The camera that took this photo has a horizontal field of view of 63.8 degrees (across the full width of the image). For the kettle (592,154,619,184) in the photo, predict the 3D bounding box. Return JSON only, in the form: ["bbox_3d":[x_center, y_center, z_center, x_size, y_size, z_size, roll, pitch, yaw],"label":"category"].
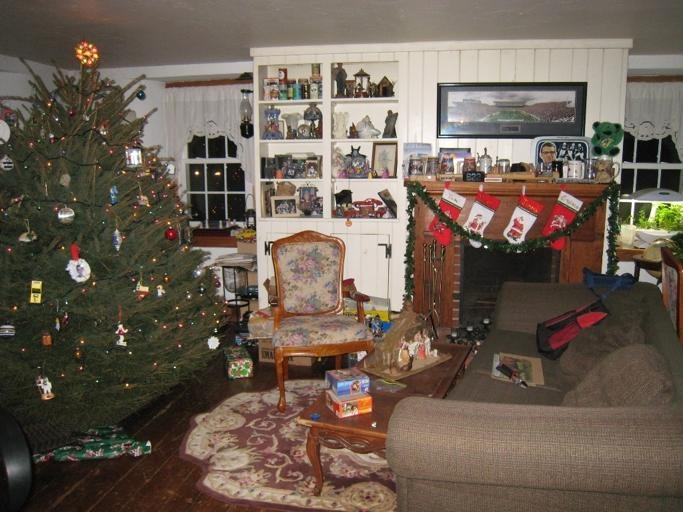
[{"bbox_3d":[2.511,-0.823,5.199,0.229,0.265,0.333,2,8,27],"label":"kettle"}]

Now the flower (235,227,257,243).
[{"bbox_3d":[-1.099,-0.238,6.290,0.198,0.132,0.193,-2,7,1],"label":"flower"}]

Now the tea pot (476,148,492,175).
[{"bbox_3d":[1.410,-0.932,5.367,0.148,0.259,0.316,0,7,14],"label":"tea pot"}]

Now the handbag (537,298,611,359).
[{"bbox_3d":[1.549,0.483,3.718,0.449,0.132,0.339,-27,17,20],"label":"handbag"}]

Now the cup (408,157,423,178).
[{"bbox_3d":[0.722,-0.860,5.359,0.172,0.165,0.165,2,-1,0],"label":"cup"}]

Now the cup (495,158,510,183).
[{"bbox_3d":[1.565,-0.836,5.290,0.158,0.241,0.205,0,-1,3],"label":"cup"}]

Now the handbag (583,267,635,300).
[{"bbox_3d":[1.962,0.195,4.069,0.273,0.092,0.262,-9,16,-13],"label":"handbag"}]

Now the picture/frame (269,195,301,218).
[{"bbox_3d":[-0.584,-0.508,5.719,0.251,0.197,0.020,-1,5,2],"label":"picture/frame"}]

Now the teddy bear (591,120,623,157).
[{"bbox_3d":[2.529,-1.112,5.217,0.261,0.348,0.213,2,8,24],"label":"teddy bear"}]

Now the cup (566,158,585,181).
[{"bbox_3d":[2.204,-0.795,5.151,0.195,0.184,0.097,-1,7,5],"label":"cup"}]

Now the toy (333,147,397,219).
[{"bbox_3d":[0.254,-0.765,5.677,0.823,0.906,0.275,0,2,8],"label":"toy"}]

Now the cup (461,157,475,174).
[{"bbox_3d":[1.244,-0.873,5.306,0.131,0.156,0.234,0,7,14],"label":"cup"}]
